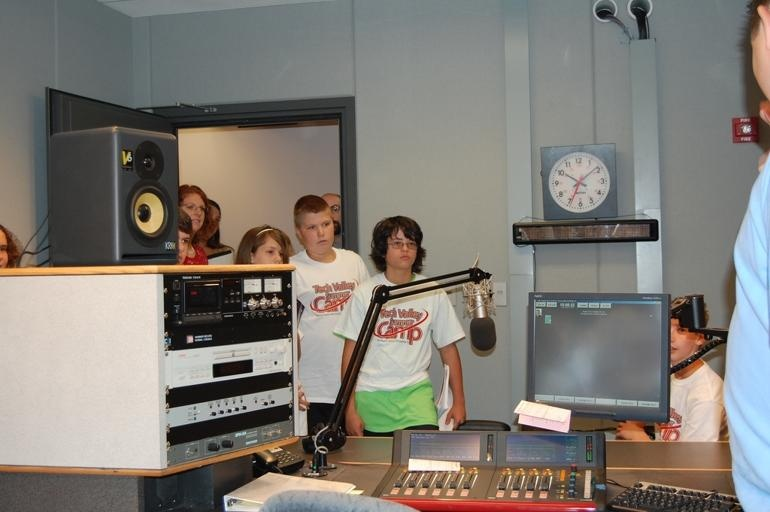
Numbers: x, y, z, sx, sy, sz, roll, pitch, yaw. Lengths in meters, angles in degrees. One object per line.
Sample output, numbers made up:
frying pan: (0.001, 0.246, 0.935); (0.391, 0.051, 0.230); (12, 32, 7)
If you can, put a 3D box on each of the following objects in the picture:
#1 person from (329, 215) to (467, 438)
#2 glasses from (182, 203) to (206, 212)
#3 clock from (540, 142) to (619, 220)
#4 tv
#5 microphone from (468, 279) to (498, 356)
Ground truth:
person: (0.100, 0.373, 3.757); (0.766, 1.176, 0.750); (-3, 4, -21)
glasses: (-1.436, -0.364, 5.116); (0.116, 0.034, 0.116); (-9, -7, 30)
clock: (1.243, -0.469, 4.339); (0.516, 0.502, 0.061); (0, -3, 10)
tv: (0.884, 0.426, 2.815); (0.578, 0.505, 0.060); (1, -3, 15)
microphone: (0.444, 0.287, 3.162); (0.116, 0.352, 0.245); (-1, 4, 7)
